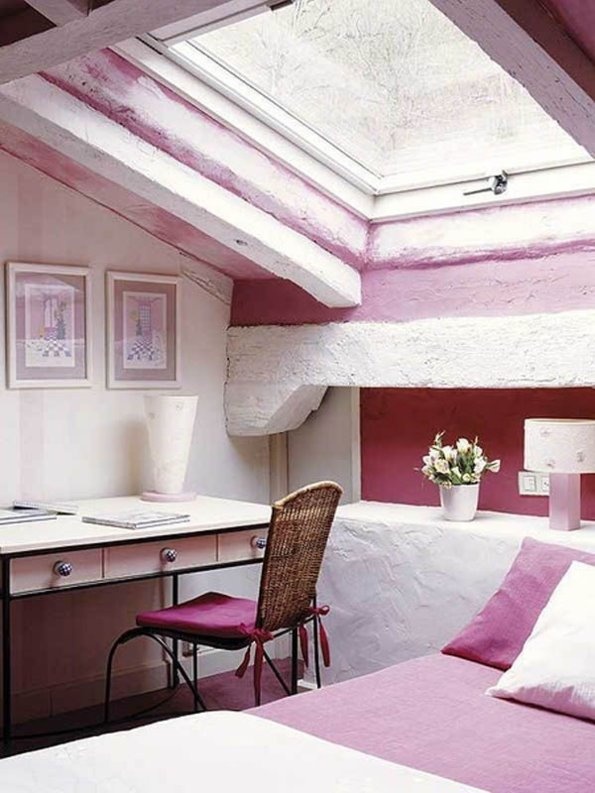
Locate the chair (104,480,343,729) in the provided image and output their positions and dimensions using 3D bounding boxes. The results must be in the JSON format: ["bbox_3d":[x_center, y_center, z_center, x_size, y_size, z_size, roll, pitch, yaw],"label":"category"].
[{"bbox_3d":[-0.266,0.782,2.529,0.704,0.840,0.762,6,-7,-41],"label":"chair"}]

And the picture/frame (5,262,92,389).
[{"bbox_3d":[-0.996,-0.282,2.825,0.072,0.530,0.406,-2,-9,36],"label":"picture/frame"}]

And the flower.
[{"bbox_3d":[0.681,0.245,2.887,0.253,0.161,0.277,12,18,32],"label":"flower"}]

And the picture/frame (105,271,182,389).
[{"bbox_3d":[-0.690,-0.289,3.136,0.070,0.531,0.422,-3,-10,39],"label":"picture/frame"}]

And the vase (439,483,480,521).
[{"bbox_3d":[0.645,0.424,2.825,0.144,0.153,0.113,2,-8,10],"label":"vase"}]
